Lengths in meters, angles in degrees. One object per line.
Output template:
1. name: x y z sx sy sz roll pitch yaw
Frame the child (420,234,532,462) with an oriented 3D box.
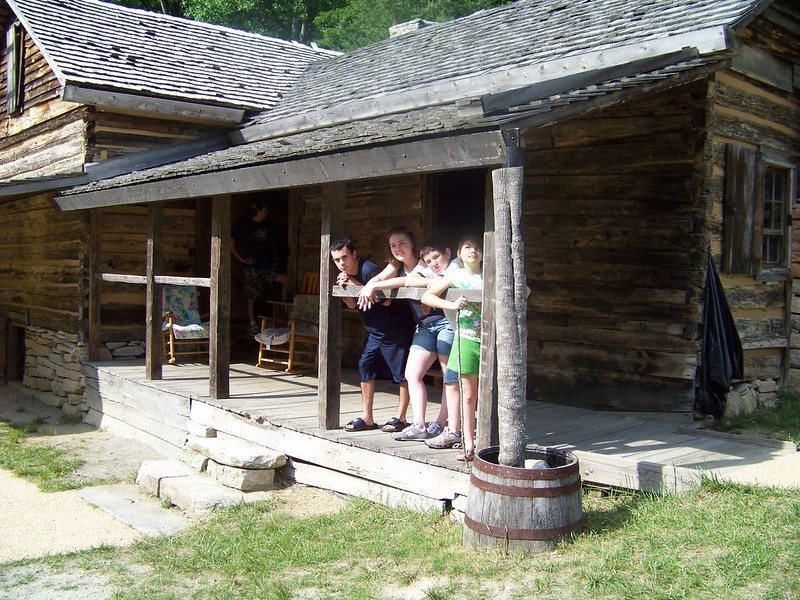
1. child: 0.443 0.411 5.637 0.485 1.873 0.697 1 -3 4

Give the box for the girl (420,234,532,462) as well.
1. girl: 0.442 0.411 5.629 0.485 1.873 0.680 1 -3 4

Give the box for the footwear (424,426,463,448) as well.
1. footwear: 0.402 1.244 5.927 0.392 0.156 0.129 0 3 -8

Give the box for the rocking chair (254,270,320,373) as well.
1. rocking chair: -1.555 0.376 9.612 1.003 1.106 0.820 -7 12 -44
